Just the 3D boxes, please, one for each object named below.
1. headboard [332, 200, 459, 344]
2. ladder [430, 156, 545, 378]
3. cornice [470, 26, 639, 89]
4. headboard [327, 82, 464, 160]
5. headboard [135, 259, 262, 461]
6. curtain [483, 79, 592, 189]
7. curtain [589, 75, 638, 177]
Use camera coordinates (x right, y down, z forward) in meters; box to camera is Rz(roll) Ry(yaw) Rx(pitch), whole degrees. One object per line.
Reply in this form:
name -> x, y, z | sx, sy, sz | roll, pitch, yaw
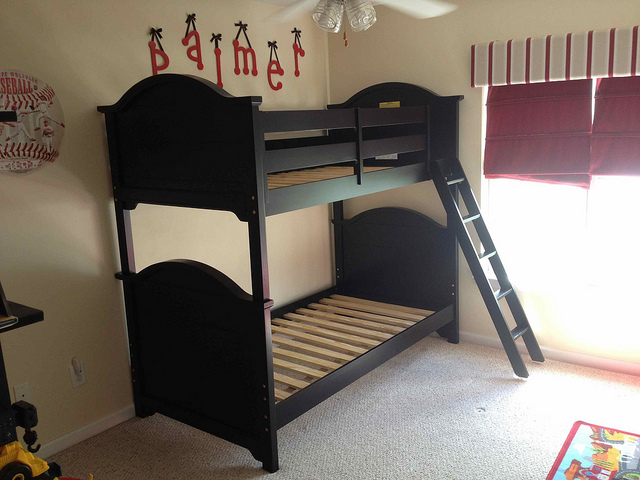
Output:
headboard -> 0.722, 0.194, 4.811 | 1.227, 1.511, 0.097 | 6, 20, 24
ladder -> 1.409, 0.177, 4.263 | 0.936, 1.664, 0.647 | 13, 20, 43
cornice -> 1.769, -1.382, 3.920 | 1.214, 0.404, 0.091 | 10, 17, 33
headboard -> 0.657, -1.001, 4.646 | 1.205, 0.873, 0.067 | 0, 32, 16
headboard -> -0.683, 0.544, 3.331 | 0.617, 1.354, 0.798 | -7, 11, -38
curtain -> 1.775, -0.873, 4.077 | 0.786, 0.843, 0.116 | 6, 11, 32
curtain -> 2.223, -0.843, 3.797 | 0.332, 0.710, 0.128 | 7, 16, 28
